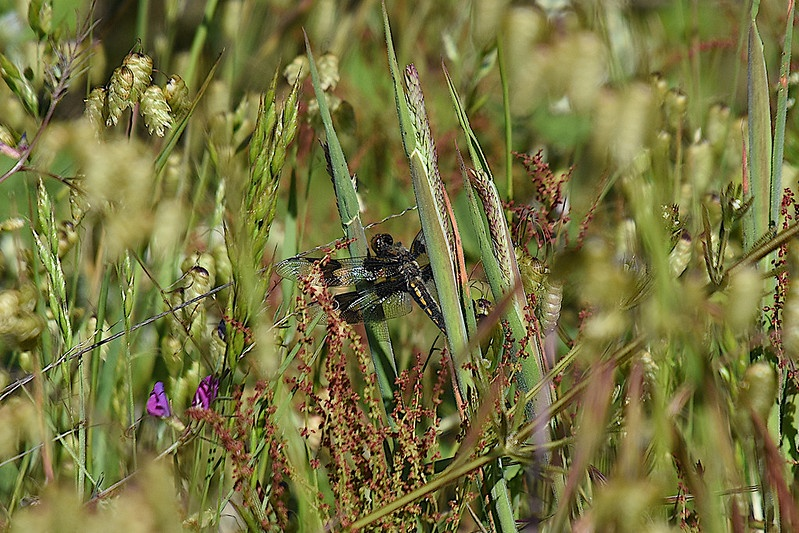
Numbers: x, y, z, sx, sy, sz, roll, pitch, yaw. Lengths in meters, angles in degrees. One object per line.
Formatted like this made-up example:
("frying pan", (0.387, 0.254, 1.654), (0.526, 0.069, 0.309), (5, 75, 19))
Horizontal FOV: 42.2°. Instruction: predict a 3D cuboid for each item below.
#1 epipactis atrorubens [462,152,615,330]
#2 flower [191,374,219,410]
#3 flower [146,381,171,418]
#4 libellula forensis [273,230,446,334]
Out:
("epipactis atrorubens", (0.252, -0.055, 1.916), (0.136, 0.570, 0.302), (1, 1, -13))
("flower", (-0.352, 0.232, 1.887), (0.073, 0.023, 0.043), (-48, 24, -11))
("flower", (-0.450, 0.250, 1.928), (0.038, 0.071, 0.028), (-8, -7, -3))
("libellula forensis", (-0.025, 0.031, 2.134), (0.281, 0.219, 0.092), (13, -37, -37))
